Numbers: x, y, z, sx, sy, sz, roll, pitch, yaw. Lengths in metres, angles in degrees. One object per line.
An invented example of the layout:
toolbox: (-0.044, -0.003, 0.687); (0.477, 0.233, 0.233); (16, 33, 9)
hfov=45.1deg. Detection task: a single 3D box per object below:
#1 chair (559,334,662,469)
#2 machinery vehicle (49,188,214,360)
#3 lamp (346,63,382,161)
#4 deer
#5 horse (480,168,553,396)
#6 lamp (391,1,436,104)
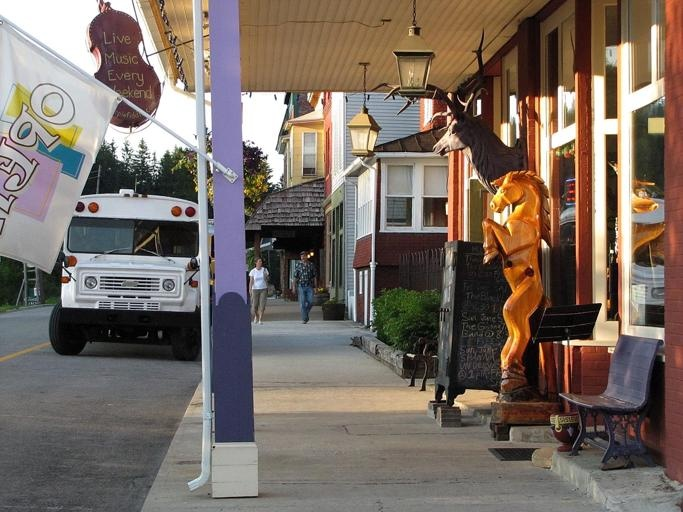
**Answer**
chair: (2.687, 1.430, 8.215); (0.775, 1.345, 0.921); (1, -3, -7)
machinery vehicle: (-4.356, 0.601, 18.167); (2.466, 3.491, 5.019); (0, -6, -4)
lamp: (0.361, -2.547, 14.883); (0.470, 1.673, 0.461); (-5, 5, -20)
deer: (1.503, -2.039, 10.853); (1.850, 3.299, 2.120); (-5, -5, 0)
horse: (2.068, 0.351, 9.688); (0.831, 2.680, 0.376); (0, 1, 0)
lamp: (0.969, -2.581, 10.745); (0.411, 1.505, 0.479); (1, -2, 2)
